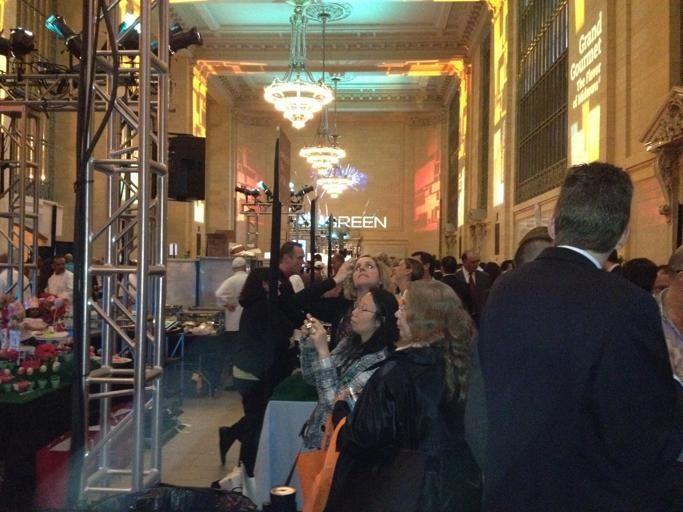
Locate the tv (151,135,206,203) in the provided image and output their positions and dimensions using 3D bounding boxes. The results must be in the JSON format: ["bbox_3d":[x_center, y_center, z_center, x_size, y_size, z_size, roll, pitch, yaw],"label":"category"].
[{"bbox_3d":[-1.630,-0.939,7.215,0.374,0.641,0.332,0,-1,-16],"label":"tv"}]
